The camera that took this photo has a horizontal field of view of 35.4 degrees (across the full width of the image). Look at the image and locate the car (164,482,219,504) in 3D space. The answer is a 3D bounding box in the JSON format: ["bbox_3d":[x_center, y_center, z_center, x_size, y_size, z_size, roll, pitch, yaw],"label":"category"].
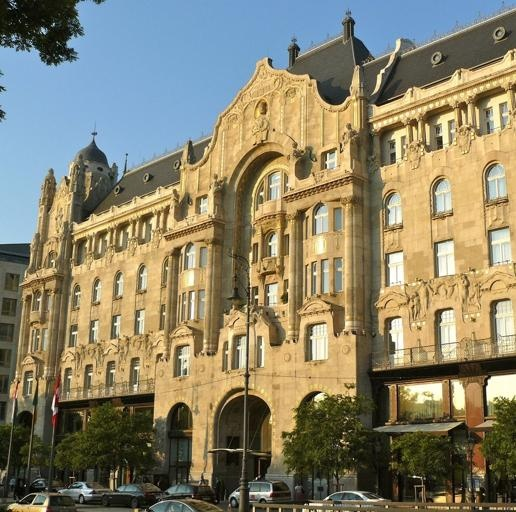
[{"bbox_3d":[-4.207,14.105,48.128,1.435,1.159,3.118,18,-23,-42],"label":"car"}]
